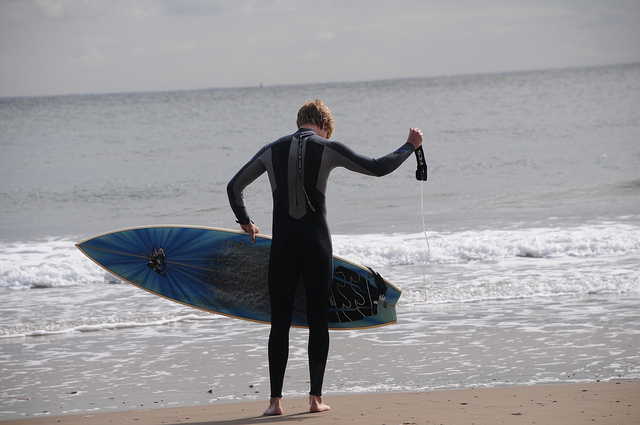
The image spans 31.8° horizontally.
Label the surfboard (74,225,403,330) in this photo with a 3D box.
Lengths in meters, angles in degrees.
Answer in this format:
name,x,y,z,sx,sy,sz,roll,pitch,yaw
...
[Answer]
name,x,y,z,sx,sy,sz,roll,pitch,yaw
surfboard,-2.473,1.431,30.487,11.150,2.467,1.374,10,12,6
